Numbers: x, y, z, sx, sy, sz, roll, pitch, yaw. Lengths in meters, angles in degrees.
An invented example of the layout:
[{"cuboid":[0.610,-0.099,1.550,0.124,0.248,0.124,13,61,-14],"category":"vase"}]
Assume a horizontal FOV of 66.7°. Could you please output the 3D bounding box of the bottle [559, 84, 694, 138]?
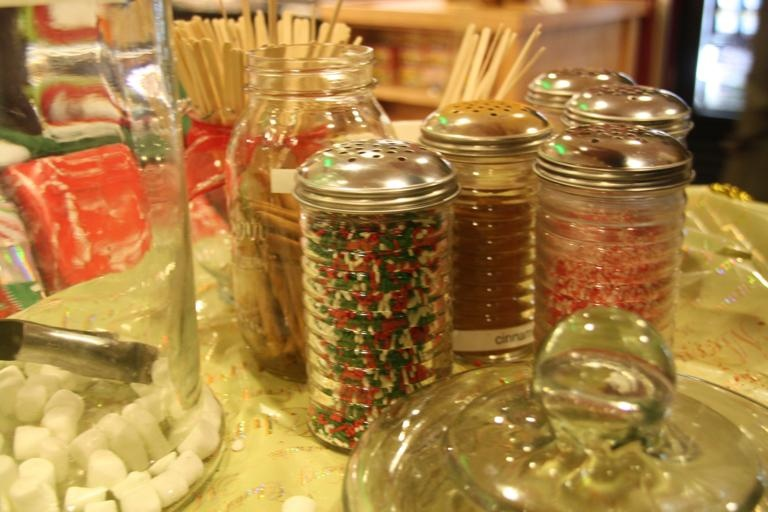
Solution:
[{"cuboid":[0.308,-0.187,0.743,0.118,0.039,0.096,6,18,11],"category":"bottle"}]
